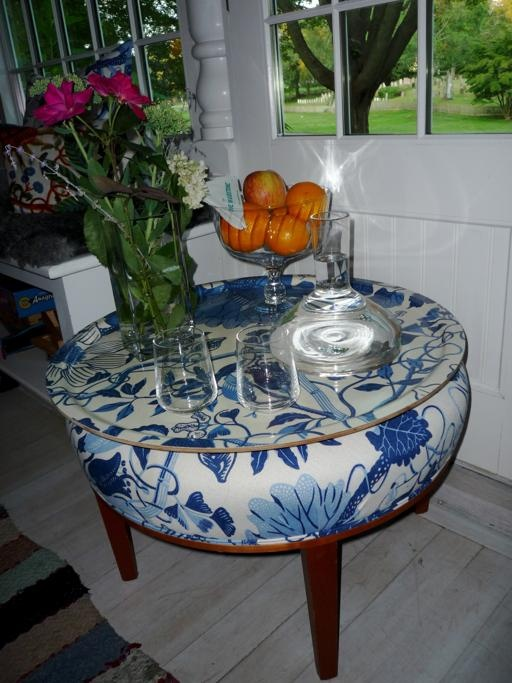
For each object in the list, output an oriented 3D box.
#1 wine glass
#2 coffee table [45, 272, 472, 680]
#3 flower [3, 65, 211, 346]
[{"bbox_3d":[0.023,-0.151,1.016,0.241,0.251,0.239,-16,32,-21],"label":"wine glass"},{"bbox_3d":[0.070,0.190,0.869,0.562,0.348,0.550,5,31,21],"label":"coffee table"},{"bbox_3d":[-0.195,-0.210,0.796,0.280,0.362,0.212,-12,9,-30],"label":"flower"}]
